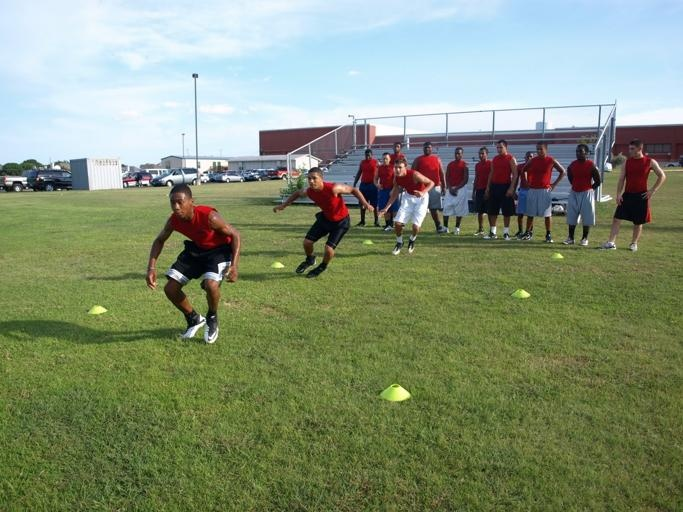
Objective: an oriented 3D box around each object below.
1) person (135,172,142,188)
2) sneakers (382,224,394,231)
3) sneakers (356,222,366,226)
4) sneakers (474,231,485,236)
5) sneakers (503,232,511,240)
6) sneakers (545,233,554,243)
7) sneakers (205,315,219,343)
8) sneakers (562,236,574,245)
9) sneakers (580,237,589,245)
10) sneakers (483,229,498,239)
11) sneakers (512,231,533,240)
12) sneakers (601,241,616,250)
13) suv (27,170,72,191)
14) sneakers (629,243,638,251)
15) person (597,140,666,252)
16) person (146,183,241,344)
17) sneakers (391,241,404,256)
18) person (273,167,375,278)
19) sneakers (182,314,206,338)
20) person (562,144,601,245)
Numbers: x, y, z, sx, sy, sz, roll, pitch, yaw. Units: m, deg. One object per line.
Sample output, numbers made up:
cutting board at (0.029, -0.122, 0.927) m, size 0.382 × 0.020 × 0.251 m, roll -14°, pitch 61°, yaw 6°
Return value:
person at (-16.671, -6.195, 44.584) m, size 0.449 × 1.022 × 0.954 m, roll -5°, pitch 13°, yaw -21°
sneakers at (1.062, -0.633, 12.497) m, size 0.164 × 0.113 × 0.289 m, roll -2°, pitch 3°, yaw 10°
sneakers at (0.456, -0.760, 13.243) m, size 0.156 × 0.060 × 0.081 m, roll 3°, pitch -4°, yaw -24°
sneakers at (2.902, -0.458, 11.514) m, size 0.096 × 0.130 × 0.292 m, roll -1°, pitch 2°, yaw 38°
sneakers at (3.304, -0.376, 10.898) m, size 0.095 × 0.120 × 0.289 m, roll -5°, pitch 2°, yaw 20°
sneakers at (3.969, -0.347, 10.445) m, size 0.096 × 0.122 × 0.286 m, roll -5°, pitch 8°, yaw 9°
sneakers at (-1.287, 0.715, 5.372) m, size 0.104 × 0.301 × 0.130 m, roll -4°, pitch 1°, yaw -13°
sneakers at (4.184, -0.256, 10.134) m, size 0.229 × 0.110 × 0.088 m, roll 2°, pitch 13°, yaw 43°
sneakers at (4.457, -0.246, 9.978) m, size 0.104 × 0.101 × 0.228 m, roll -3°, pitch 0°, yaw 30°
sneakers at (2.958, -0.442, 11.116) m, size 0.394 × 0.264 × 0.167 m, roll 1°, pitch 8°, yaw 28°
sneakers at (3.577, -0.396, 10.867) m, size 0.419 × 0.188 × 0.156 m, roll 2°, pitch 12°, yaw 26°
sneakers at (4.660, -0.169, 9.496) m, size 0.296 × 0.132 × 0.110 m, roll 3°, pitch 13°, yaw 34°
suv at (-19.481, -5.016, 36.235) m, size 0.764 × 1.421 × 3.037 m, roll 2°, pitch 12°, yaw 15°
sneakers at (4.987, -0.150, 9.307) m, size 0.092 × 0.099 × 0.237 m, roll 5°, pitch 16°, yaw 32°
person at (4.957, -1.021, 9.271) m, size 0.817 × 1.840 × 0.689 m, roll -3°, pitch 12°, yaw -12°
person at (-1.487, 0.044, 5.443) m, size 0.899 × 1.529 × 0.979 m, roll -5°, pitch 12°, yaw -20°
sneakers at (0.974, -0.138, 9.515) m, size 0.120 × 0.135 × 0.327 m, roll 7°, pitch 28°, yaw 20°
person at (-0.267, -0.528, 8.060) m, size 0.976 × 1.527 × 0.719 m, roll -10°, pitch 15°, yaw -38°
sneakers at (-1.506, 0.721, 5.542) m, size 0.081 × 0.118 × 0.245 m, roll -3°, pitch 47°, yaw 51°
person at (4.453, -1.129, 10.111) m, size 0.541 × 1.825 × 1.235 m, roll 4°, pitch 13°, yaw 22°
